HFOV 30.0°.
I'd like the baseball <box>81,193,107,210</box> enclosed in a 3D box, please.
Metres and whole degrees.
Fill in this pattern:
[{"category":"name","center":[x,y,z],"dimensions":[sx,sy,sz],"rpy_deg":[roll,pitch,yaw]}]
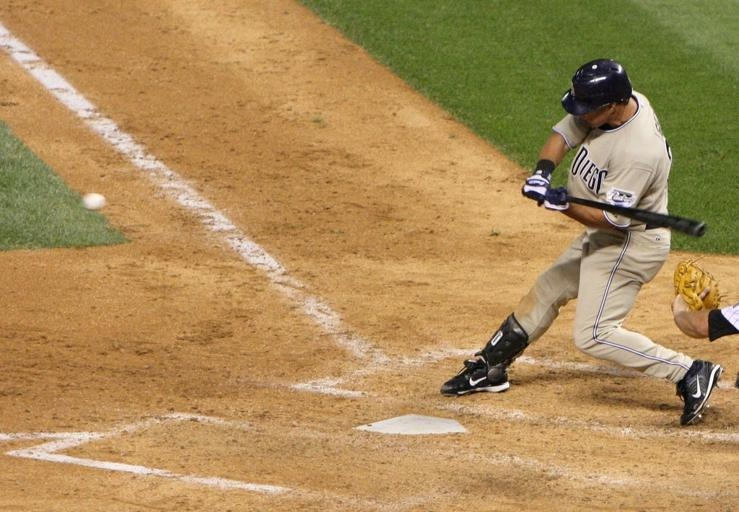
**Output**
[{"category":"baseball","center":[-2.999,-0.606,15.058],"dimensions":[0.215,0.102,0.218],"rpy_deg":[28,36,29]}]

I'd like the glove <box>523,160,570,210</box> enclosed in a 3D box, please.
[{"category":"glove","center":[1.568,-0.631,12.457],"dimensions":[0.479,0.433,0.454],"rpy_deg":[-4,20,-7]}]
